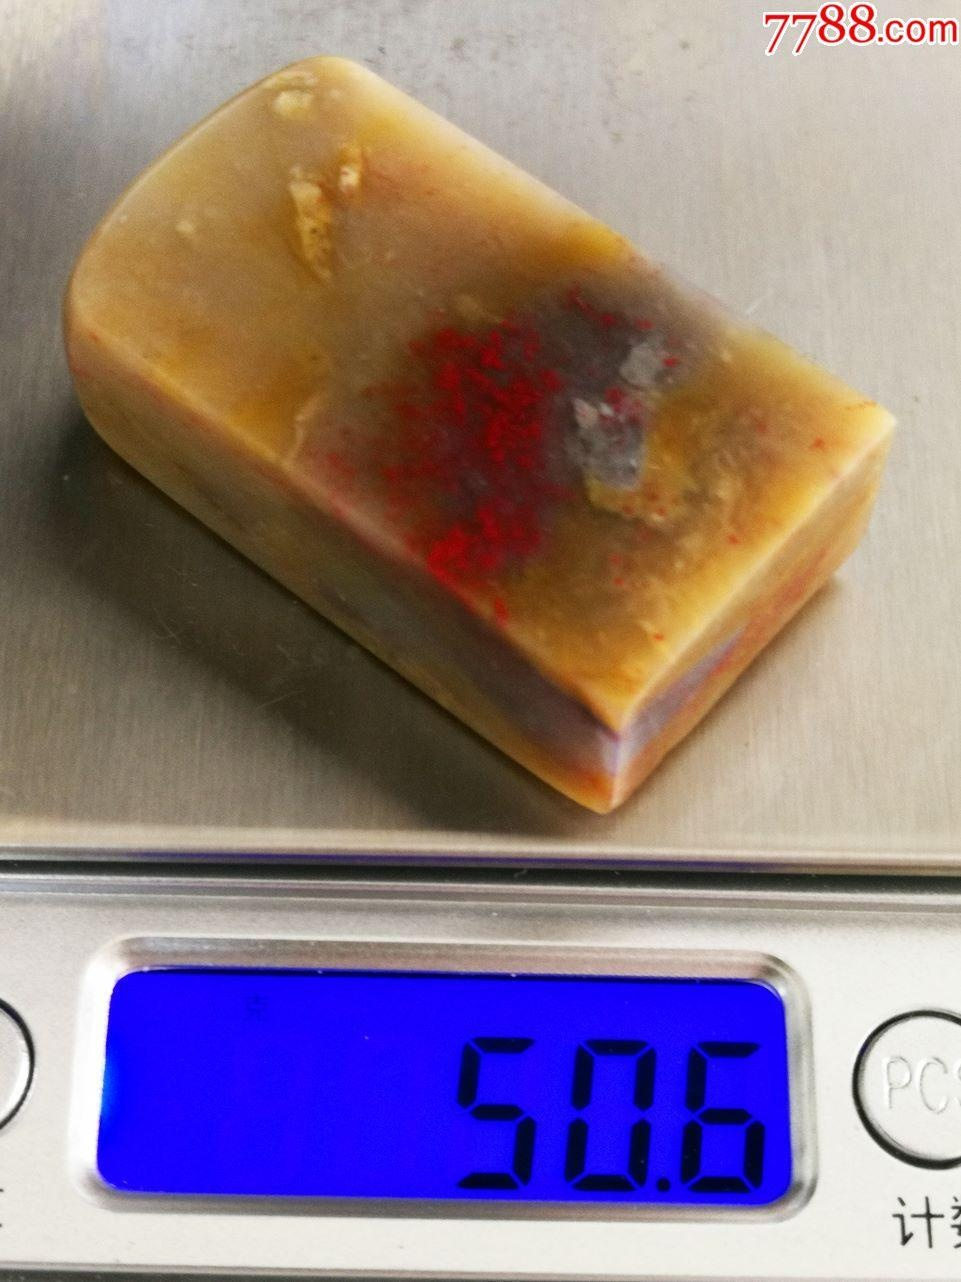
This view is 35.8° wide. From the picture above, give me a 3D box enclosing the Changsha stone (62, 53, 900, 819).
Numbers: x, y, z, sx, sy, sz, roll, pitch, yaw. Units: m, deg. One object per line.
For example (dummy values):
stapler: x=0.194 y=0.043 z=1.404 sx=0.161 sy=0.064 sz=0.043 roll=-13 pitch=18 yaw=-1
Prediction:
Changsha stone: x=-0.011 y=-0.114 z=0.734 sx=0.360 sy=0.153 sz=0.215 roll=34 pitch=63 yaw=20
